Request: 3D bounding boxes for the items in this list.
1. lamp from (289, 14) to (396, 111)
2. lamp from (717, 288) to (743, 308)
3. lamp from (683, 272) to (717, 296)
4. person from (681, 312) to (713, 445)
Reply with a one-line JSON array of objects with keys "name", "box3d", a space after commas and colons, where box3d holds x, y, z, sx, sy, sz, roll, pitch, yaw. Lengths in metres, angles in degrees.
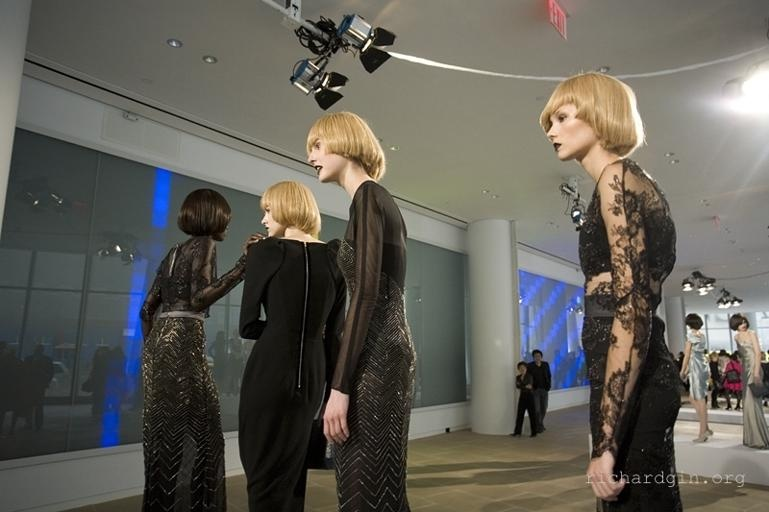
[{"name": "lamp", "box3d": [-0.524, -2.077, 4.836, 0.962, 0.360, 0.924, -18, -23, 34]}, {"name": "lamp", "box3d": [14.248, 1.720, 19.872, 0.755, 0.846, 0.845, -1, -33, 16]}, {"name": "lamp", "box3d": [11.132, 0.973, 16.961, 0.847, 0.554, 1.192, 2, -22, 11]}, {"name": "person", "box3d": [5.827, 2.293, 9.064, 0.583, 2.251, 0.672, 13, -14, -33]}]
